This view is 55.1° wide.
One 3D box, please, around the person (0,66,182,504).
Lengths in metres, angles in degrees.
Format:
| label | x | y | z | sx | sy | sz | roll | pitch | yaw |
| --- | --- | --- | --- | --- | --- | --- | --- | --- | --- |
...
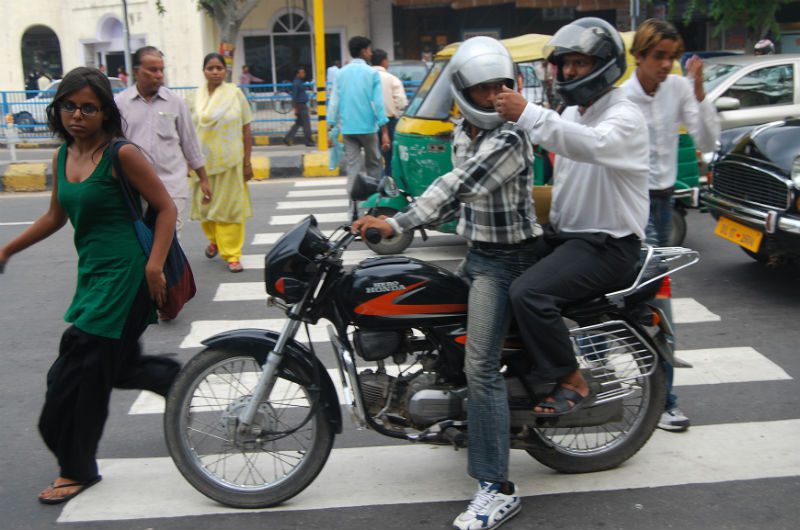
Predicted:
| label | x | y | z | sx | sy | sz | roll | pitch | yaw |
| --- | --- | --- | --- | --- | --- | --- | --- | --- | --- |
| person | -1.872 | 0.106 | 4.780 | 0.959 | 2.608 | 0.852 | -4 | 17 | -5 |

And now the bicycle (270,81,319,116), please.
| label | x | y | z | sx | sy | sz | roll | pitch | yaw |
| --- | --- | --- | --- | --- | --- | --- | --- | --- | --- |
| bicycle | -2.810 | -4.354 | 20.166 | 1.169 | 0.245 | 1.049 | -7 | -17 | 6 |

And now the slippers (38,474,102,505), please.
| label | x | y | z | sx | sy | sz | roll | pitch | yaw |
| --- | --- | --- | --- | --- | --- | --- | --- | --- | --- |
| slippers | -2.075 | 1.398 | 4.805 | 0.340 | 0.074 | 0.127 | -11 | 15 | -41 |

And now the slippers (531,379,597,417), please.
| label | x | y | z | sx | sy | sz | roll | pitch | yaw |
| --- | --- | --- | --- | --- | --- | --- | --- | --- | --- |
| slippers | 1.028 | 0.800 | 4.627 | 0.437 | 0.107 | 0.152 | -17 | 10 | -24 |

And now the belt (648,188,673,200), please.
| label | x | y | z | sx | sy | sz | roll | pitch | yaw |
| --- | --- | --- | --- | --- | --- | --- | --- | --- | --- |
| belt | 1.883 | -0.508 | 5.498 | 0.128 | 0.044 | 0.150 | 3 | 7 | 25 |

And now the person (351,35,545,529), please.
| label | x | y | z | sx | sy | sz | roll | pitch | yaw |
| --- | --- | --- | --- | --- | --- | --- | --- | --- | --- |
| person | 0.428 | 0.087 | 4.533 | 0.814 | 2.797 | 1.062 | 0 | 17 | 9 |

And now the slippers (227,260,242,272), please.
| label | x | y | z | sx | sy | sz | roll | pitch | yaw |
| --- | --- | --- | --- | --- | --- | --- | --- | --- | --- |
| slippers | -1.928 | 0.018 | 8.868 | 0.169 | 0.130 | 0.352 | 0 | 4 | -12 |
